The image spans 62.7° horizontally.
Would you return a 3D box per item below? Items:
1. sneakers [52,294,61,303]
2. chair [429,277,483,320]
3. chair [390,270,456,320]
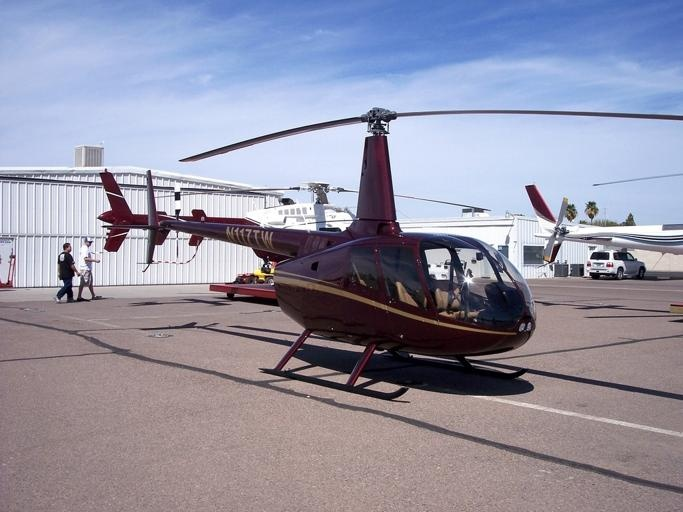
[{"bbox_3d":[-8.565,1.249,16.956,0.232,0.226,0.605,2,-8,-22],"label":"sneakers"},{"bbox_3d":[1.407,0.500,7.350,0.501,0.366,0.403,-1,-1,11],"label":"chair"},{"bbox_3d":[1.136,0.493,7.399,0.824,0.284,0.529,7,2,24],"label":"chair"}]
